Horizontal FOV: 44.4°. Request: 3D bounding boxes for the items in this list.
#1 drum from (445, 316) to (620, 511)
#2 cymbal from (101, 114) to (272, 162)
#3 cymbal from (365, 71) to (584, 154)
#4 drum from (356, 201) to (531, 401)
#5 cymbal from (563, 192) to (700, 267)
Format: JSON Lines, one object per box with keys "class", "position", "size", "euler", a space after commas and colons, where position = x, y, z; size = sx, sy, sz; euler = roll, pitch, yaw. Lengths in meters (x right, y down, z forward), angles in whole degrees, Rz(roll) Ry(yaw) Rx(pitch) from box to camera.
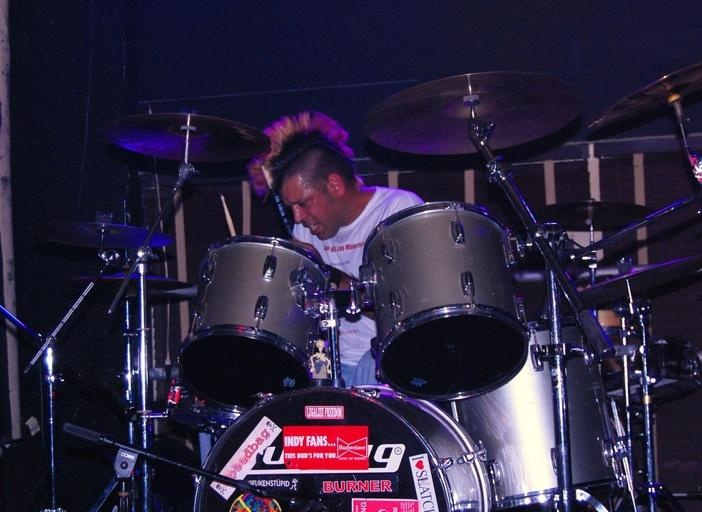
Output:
{"class": "drum", "position": [0.990, 0.982, 4.896], "size": [0.974, 0.936, 0.990], "euler": [-20, -22, 28]}
{"class": "cymbal", "position": [-0.961, -0.696, 5.086], "size": [0.534, 0.152, 0.522], "euler": [-2, -20, 7]}
{"class": "cymbal", "position": [0.655, -0.759, 4.743], "size": [1.151, 0.205, 0.754], "euler": [-1, -15, 1]}
{"class": "drum", "position": [0.386, 0.206, 4.607], "size": [0.944, 0.831, 0.911], "euler": [5, -44, -10]}
{"class": "cymbal", "position": [1.419, -0.111, 4.298], "size": [0.614, 0.249, 0.428], "euler": [-5, -15, 15]}
